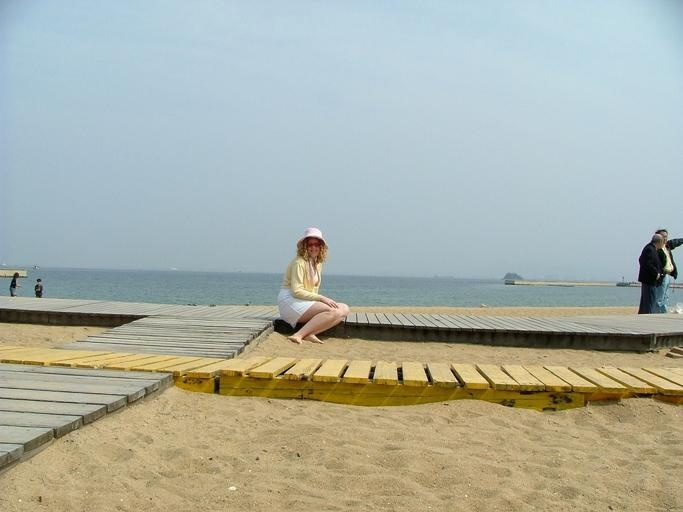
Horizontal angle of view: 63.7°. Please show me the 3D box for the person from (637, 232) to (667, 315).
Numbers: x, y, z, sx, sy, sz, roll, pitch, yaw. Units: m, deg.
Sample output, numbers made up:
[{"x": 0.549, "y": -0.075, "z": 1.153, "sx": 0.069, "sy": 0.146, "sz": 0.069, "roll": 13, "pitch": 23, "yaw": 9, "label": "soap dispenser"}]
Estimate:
[{"x": 6.038, "y": 0.383, "z": 10.683, "sx": 0.454, "sy": 1.622, "sz": 1.496, "roll": 1, "pitch": 1, "yaw": 30, "label": "person"}]

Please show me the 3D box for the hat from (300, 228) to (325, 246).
[{"x": -0.403, "y": -0.238, "z": 7.412, "sx": 0.388, "sy": 0.165, "sz": 0.471, "roll": 1, "pitch": -13, "yaw": -4, "label": "hat"}]

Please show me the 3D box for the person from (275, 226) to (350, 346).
[{"x": -0.458, "y": 0.441, "z": 8.248, "sx": 1.052, "sy": 1.682, "sz": 0.633, "roll": 0, "pitch": 1, "yaw": 3, "label": "person"}]
